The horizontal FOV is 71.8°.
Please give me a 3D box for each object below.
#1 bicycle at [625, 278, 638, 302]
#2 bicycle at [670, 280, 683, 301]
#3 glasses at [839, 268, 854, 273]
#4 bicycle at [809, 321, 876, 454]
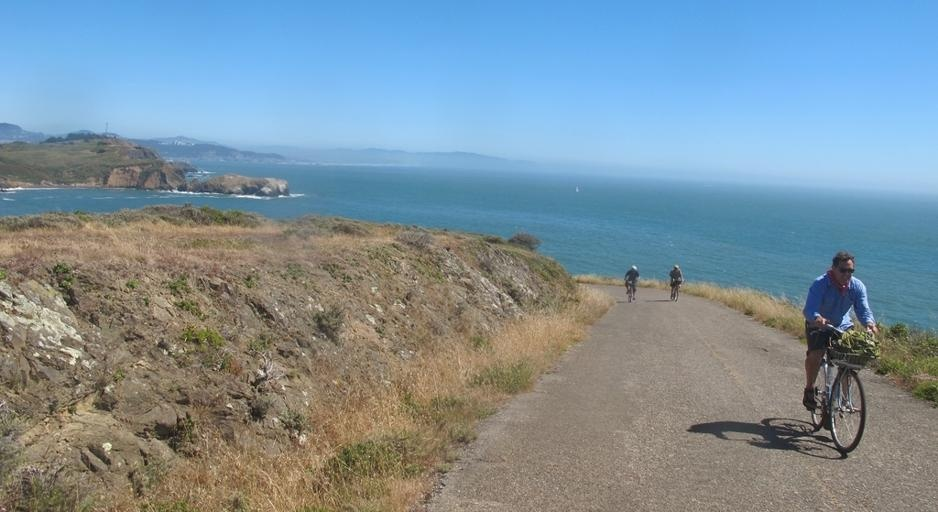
[{"bbox_3d":[9.982,2.014,40.147,0.941,1.063,1.894,2,14,7],"label":"bicycle"},{"bbox_3d":[12.892,2.130,40.417,0.752,0.868,1.454,-3,25,-2],"label":"bicycle"},{"bbox_3d":[10.007,0.342,17.031,0.554,0.106,0.193,-4,7,-40],"label":"glasses"},{"bbox_3d":[9.551,3.424,16.625,0.881,3.033,1.303,-5,8,-38],"label":"bicycle"}]
